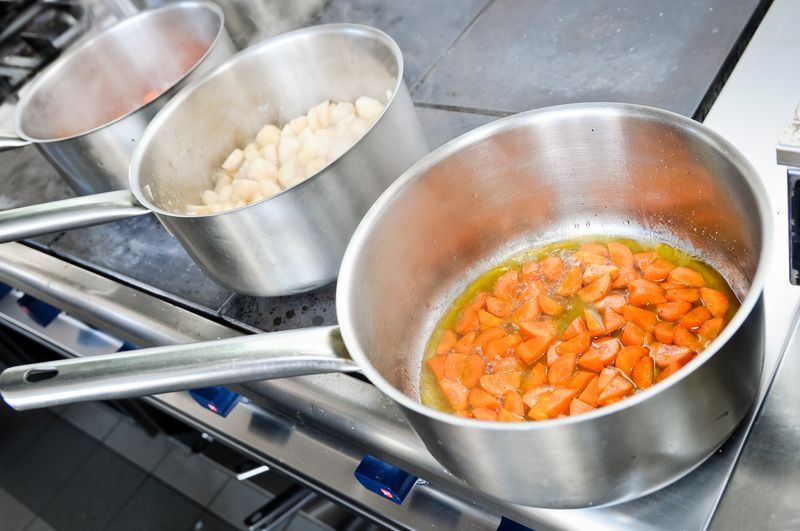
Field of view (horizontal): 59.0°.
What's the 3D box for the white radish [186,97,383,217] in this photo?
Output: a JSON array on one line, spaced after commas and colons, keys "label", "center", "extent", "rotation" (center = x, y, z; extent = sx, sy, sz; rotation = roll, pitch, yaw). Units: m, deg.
[{"label": "white radish", "center": [-0.263, -0.277, 1.420], "extent": [0.352, 0.236, 0.442], "rotation": [9, 24, 28]}]
